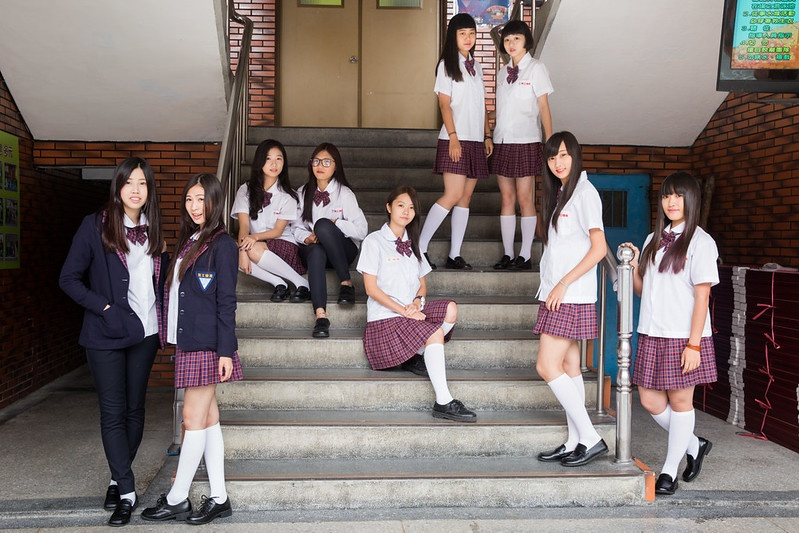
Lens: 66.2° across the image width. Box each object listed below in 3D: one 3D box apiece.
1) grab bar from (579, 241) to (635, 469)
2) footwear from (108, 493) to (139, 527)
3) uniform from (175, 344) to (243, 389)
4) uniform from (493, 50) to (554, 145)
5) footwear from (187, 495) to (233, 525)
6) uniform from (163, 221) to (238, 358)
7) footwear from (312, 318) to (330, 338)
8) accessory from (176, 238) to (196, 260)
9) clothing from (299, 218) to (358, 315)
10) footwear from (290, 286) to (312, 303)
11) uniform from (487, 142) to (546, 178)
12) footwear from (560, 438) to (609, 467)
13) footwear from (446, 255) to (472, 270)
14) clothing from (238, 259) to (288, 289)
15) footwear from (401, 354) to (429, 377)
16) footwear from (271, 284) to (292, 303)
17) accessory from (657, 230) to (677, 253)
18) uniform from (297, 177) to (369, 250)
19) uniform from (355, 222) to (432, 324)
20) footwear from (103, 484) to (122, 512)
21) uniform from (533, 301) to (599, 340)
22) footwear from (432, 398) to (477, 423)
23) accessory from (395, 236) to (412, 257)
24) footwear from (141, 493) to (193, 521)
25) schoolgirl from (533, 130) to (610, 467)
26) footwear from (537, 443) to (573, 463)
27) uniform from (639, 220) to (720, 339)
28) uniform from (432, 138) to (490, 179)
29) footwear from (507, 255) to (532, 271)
[{"bbox_3d":[1.482,0.568,4.101,0.220,1.524,0.212,1,-1,18],"label":"grab bar"},{"bbox_3d":[-1.752,1.543,3.876,0.087,0.089,0.218,5,6,-2],"label":"footwear"},{"bbox_3d":[-1.185,0.620,3.777,0.357,0.332,0.255,-1,-11,-12],"label":"uniform"},{"bbox_3d":[1.062,-1.433,5.288,0.461,0.731,0.338,4,20,10],"label":"uniform"},{"bbox_3d":[-1.183,1.513,3.837,0.271,0.138,0.121,0,-1,-28],"label":"footwear"},{"bbox_3d":[-1.187,0.164,3.764,0.367,0.685,0.387,-2,20,-5],"label":"uniform"},{"bbox_3d":[-0.609,0.463,4.695,0.133,0.118,0.169,-3,20,-9],"label":"footwear"},{"bbox_3d":[-1.335,-0.113,3.822,0.035,0.144,0.088,48,-11,-36],"label":"accessory"},{"bbox_3d":[-0.561,-0.053,4.948,0.451,0.655,0.637,-2,20,-6],"label":"clothing"},{"bbox_3d":[-0.800,0.229,4.934,0.090,0.088,0.224,1,-1,14],"label":"footwear"},{"bbox_3d":[1.013,-0.948,5.367,0.500,0.322,0.349,5,4,14],"label":"uniform"},{"bbox_3d":[1.228,1.257,4.159,0.342,0.124,0.145,-17,3,-2],"label":"footwear"},{"bbox_3d":[0.527,-0.036,5.389,0.224,0.092,0.097,-1,2,25],"label":"footwear"},{"bbox_3d":[-1.085,0.077,5.040,0.503,0.137,0.129,26,11,-9],"label":"clothing"},{"bbox_3d":[0.118,0.731,4.537,0.092,0.149,0.220,-3,6,-44],"label":"footwear"},{"bbox_3d":[-0.970,0.206,4.971,0.154,0.110,0.194,-3,20,-8],"label":"footwear"},{"bbox_3d":[1.778,-0.161,4.072,0.095,0.165,0.032,21,-15,12],"label":"accessory"},{"bbox_3d":[-0.613,-0.444,5.160,0.654,0.627,0.440,2,17,7],"label":"uniform"},{"bbox_3d":[-0.057,0.064,4.585,0.777,0.888,0.378,3,-4,-32],"label":"uniform"},{"bbox_3d":[-1.859,1.491,3.957,0.078,0.090,0.213,0,3,-6],"label":"footwear"},{"bbox_3d":[1.115,0.383,4.140,0.417,0.383,0.236,1,-9,1],"label":"uniform"},{"bbox_3d":[0.383,1.010,4.329,0.297,0.124,0.126,4,1,6],"label":"footwear"},{"bbox_3d":[0.031,-0.144,4.534,0.126,0.125,0.046,-36,-2,-28],"label":"accessory"},{"bbox_3d":[-1.459,1.520,3.890,0.300,0.144,0.137,3,-5,-1],"label":"footwear"},{"bbox_3d":[1.173,0.230,4.081,0.529,2.112,0.742,2,20,5],"label":"schoolgirl"},{"bbox_3d":[1.062,1.266,4.176,0.281,0.102,0.097,1,2,0],"label":"footwear"},{"bbox_3d":[1.835,0.115,4.032,0.429,0.706,0.308,8,21,20],"label":"uniform"},{"bbox_3d":[0.530,-0.880,5.315,0.545,0.405,0.307,1,-2,-15],"label":"uniform"},{"bbox_3d":[1.042,-0.017,5.310,0.210,0.083,0.093,1,-2,-38],"label":"footwear"}]
